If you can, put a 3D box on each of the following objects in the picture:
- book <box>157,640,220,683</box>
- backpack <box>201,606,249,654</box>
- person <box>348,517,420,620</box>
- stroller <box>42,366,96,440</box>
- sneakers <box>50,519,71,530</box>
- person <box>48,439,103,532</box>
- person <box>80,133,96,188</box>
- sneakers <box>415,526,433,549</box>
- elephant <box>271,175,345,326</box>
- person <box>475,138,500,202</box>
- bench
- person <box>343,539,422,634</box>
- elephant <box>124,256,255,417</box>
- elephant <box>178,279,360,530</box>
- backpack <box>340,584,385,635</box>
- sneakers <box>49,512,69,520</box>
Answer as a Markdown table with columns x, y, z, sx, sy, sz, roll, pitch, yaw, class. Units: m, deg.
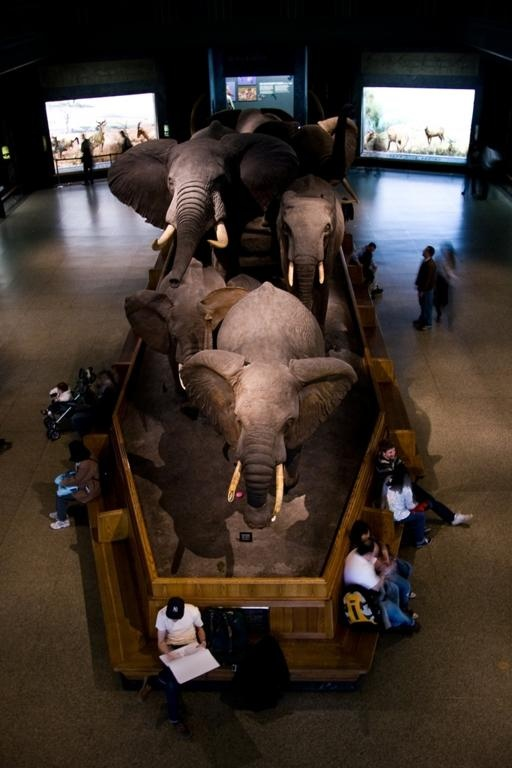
| x | y | z | sx | sy | sz | roll | pitch | yaw | class |
| --- | --- | --- | --- | --- | --- | --- | --- | --- | --- |
| -0.478 | 1.951 | 3.787 | 0.302 | 0.058 | 0.312 | -17 | 30 | -33 | book |
| -0.243 | 1.910 | 4.124 | 0.259 | 0.368 | 0.364 | 0 | 52 | -5 | backpack |
| 1.017 | 1.695 | 4.618 | 0.572 | 1.036 | 0.454 | -10 | 19 | -7 | person |
| -2.596 | 0.306 | 7.373 | 0.694 | 0.947 | 0.577 | 2 | 37 | -13 | stroller |
| -2.204 | 1.589 | 6.010 | 0.223 | 0.103 | 0.097 | -5 | 68 | -13 | sneakers |
| -2.014 | 1.172 | 5.972 | 0.621 | 1.083 | 0.492 | 2 | 33 | -12 | person |
| -5.959 | -7.877 | 18.858 | 0.430 | 1.603 | 0.698 | -7 | 25 | -15 | person |
| 1.754 | 1.619 | 5.581 | 0.112 | 0.135 | 0.337 | -3 | -6 | 11 | sneakers |
| 0.683 | -1.705 | 6.544 | 0.652 | 1.150 | 2.126 | -1 | 53 | 7 | elephant |
| 7.163 | -6.537 | 16.518 | 0.681 | 1.473 | 1.771 | 9 | 26 | 20 | person |
| -0.072 | 0.822 | 5.233 | 2.539 | 1.057 | 4.463 | 1 | 41 | 1 | bench |
| 1.034 | 1.648 | 4.565 | 0.602 | 0.729 | 0.590 | -2 | 14 | -9 | person |
| -0.751 | -0.539 | 6.430 | 1.404 | 1.462 | 2.140 | 5 | 39 | -3 | elephant |
| 0.101 | 0.174 | 4.882 | 1.286 | 1.530 | 2.554 | 3 | 32 | 1 | elephant |
| 0.872 | 1.838 | 4.404 | 0.369 | 0.324 | 0.226 | 7 | 25 | 15 | backpack |
| -2.223 | 1.490 | 6.024 | 0.204 | 0.081 | 0.069 | 18 | 24 | -20 | sneakers |
